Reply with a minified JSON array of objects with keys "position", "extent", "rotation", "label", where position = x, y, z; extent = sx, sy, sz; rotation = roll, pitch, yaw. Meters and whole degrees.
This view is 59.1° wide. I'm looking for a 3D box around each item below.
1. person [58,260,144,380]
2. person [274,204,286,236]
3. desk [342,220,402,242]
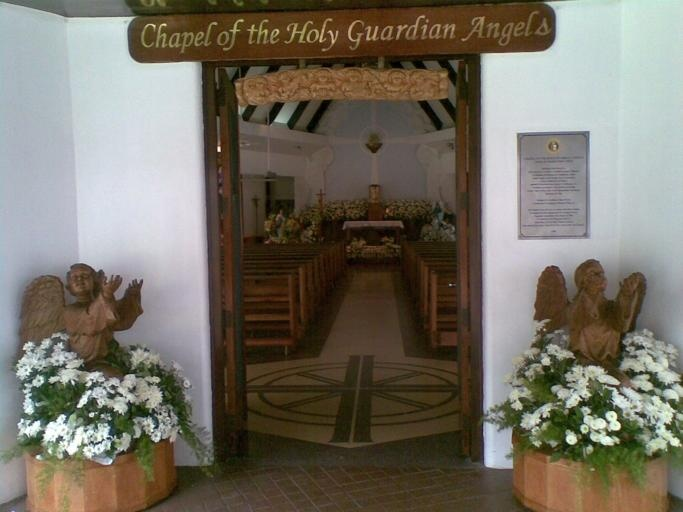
[{"position":[-1.583,0.437,3.943],"extent":[0.660,0.800,0.276],"rotation":[-4,-1,0],"label":"person"},{"position":[-1.808,-1.031,17.661],"extent":[0.339,0.820,1.385],"rotation":[-3,8,-5],"label":"person"},{"position":[0.830,-0.683,15.917],"extent":[1.553,0.498,0.595],"rotation":[-2,8,-1],"label":"desk"}]
